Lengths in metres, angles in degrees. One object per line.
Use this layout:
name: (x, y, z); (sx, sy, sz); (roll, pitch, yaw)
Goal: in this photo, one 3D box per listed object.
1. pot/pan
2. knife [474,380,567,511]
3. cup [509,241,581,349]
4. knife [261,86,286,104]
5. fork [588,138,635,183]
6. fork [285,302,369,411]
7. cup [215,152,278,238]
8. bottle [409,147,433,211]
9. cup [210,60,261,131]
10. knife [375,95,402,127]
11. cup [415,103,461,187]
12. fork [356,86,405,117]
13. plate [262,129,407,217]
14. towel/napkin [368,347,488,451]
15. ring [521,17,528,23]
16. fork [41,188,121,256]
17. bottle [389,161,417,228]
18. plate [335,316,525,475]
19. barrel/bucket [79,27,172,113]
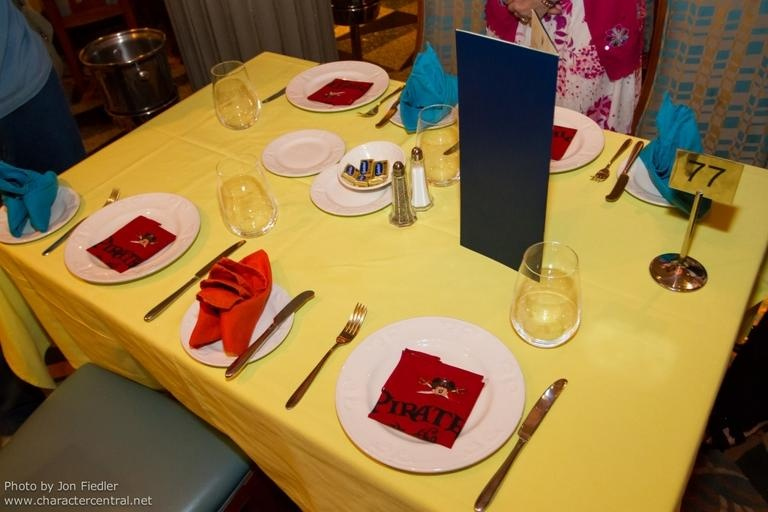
pot/pan: (-1.358, -0.965, 2.820); (0.408, 0.360, 0.435); (26, 51, 28)
knife: (0.282, 0.408, 1.079); (0.037, 0.015, 0.283); (34, 70, 10)
cup: (0.377, 0.102, 1.209); (0.127, 0.186, 0.121); (-5, 40, 4)
knife: (-0.415, -0.599, 1.940); (0.131, 0.012, 0.031); (-36, 75, -21)
fork: (0.710, -0.315, 1.593); (0.054, 0.041, 0.335); (29, 53, 19)
fork: (-0.135, 0.247, 1.222); (0.032, 0.030, 0.261); (28, 60, 9)
cup: (-0.400, -0.163, 1.498); (0.128, 0.200, 0.142); (-15, 38, -2)
bottle: (0.095, -0.219, 1.485); (0.069, 0.166, 0.075); (-7, 25, 3)
cup: (-0.537, -0.556, 1.868); (0.147, 0.224, 0.153); (-11, 22, 4)
knife: (0.015, -0.478, 1.755); (0.035, 0.012, 0.236); (15, 42, 13)
cup: (0.158, -0.321, 1.533); (0.137, 0.208, 0.133); (-6, 43, 6)
fork: (-0.012, -0.532, 1.803); (0.028, 0.029, 0.206); (24, 52, 22)
plate: (-0.178, -0.267, 1.615); (0.265, 0.034, 0.419); (-41, 49, -21)
towel/napkin: (0.095, 0.312, 1.138); (0.210, 0.045, 0.188); (17, 49, 21)
ring: (0.599, -1.004, 2.215); (0.018, 0.015, 0.019); (-6, 39, 5)
fork: (-0.907, -0.093, 1.542); (0.030, 0.029, 0.258); (34, 67, 17)
bottle: (0.044, -0.175, 1.445); (0.083, 0.176, 0.084); (-4, 40, 3)
plate: (0.066, 0.271, 1.130); (0.371, 0.045, 0.397); (-18, 4, 25)
barrel/bucket: (-1.349, -0.965, 2.794); (0.412, 0.349, 0.417); (-3, 40, 2)
